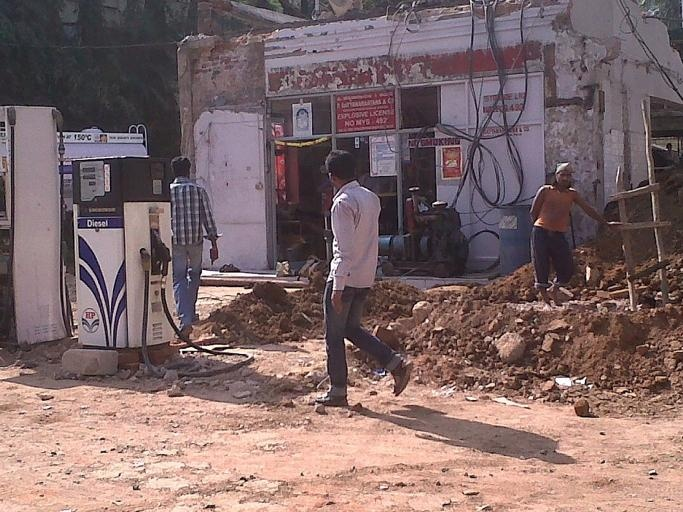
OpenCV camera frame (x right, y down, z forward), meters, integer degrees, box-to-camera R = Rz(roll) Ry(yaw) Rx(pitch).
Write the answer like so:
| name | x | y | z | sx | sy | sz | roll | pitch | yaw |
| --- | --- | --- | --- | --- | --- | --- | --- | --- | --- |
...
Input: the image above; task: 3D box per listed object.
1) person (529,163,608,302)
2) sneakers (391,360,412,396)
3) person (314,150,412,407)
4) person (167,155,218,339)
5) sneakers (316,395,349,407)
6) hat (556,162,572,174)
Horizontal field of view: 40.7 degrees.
| name | x | y | z | sx | sy | sz | roll | pitch | yaw |
| --- | --- | --- | --- | --- | --- | --- | --- | --- | --- |
| person | 2.882 | -0.311 | 12.139 | 0.743 | 1.362 | 0.608 | -1 | 0 | 13 |
| sneakers | 0.663 | 1.309 | 10.091 | 0.193 | 0.490 | 0.157 | 7 | 22 | 1 |
| person | 0.177 | 0.239 | 9.945 | 0.786 | 2.287 | 0.513 | -1 | 0 | -30 |
| person | -2.094 | -0.147 | 12.638 | 0.724 | 2.282 | 0.607 | -1 | 0 | -45 |
| sneakers | -0.096 | 1.577 | 10.029 | 0.358 | 0.173 | 0.128 | 4 | -1 | 6 |
| hat | 2.958 | -1.167 | 12.313 | 0.199 | 0.120 | 0.296 | 1 | -1 | 2 |
